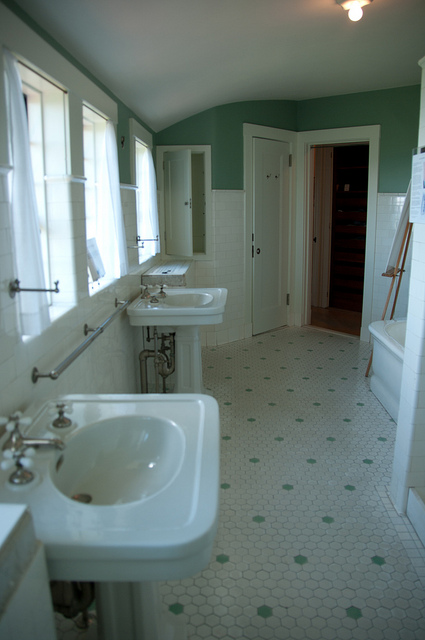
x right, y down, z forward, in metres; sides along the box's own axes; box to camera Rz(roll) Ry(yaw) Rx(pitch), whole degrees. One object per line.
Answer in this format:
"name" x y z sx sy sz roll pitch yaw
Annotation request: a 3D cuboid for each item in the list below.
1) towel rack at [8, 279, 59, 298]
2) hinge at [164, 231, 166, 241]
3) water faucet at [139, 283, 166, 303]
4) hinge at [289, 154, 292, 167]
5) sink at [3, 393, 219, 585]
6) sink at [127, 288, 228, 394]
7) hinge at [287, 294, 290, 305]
"towel rack" -0.582 -0.114 1.527 0.146 0.061 0.200 -1 12 -6
"hinge" -0.542 -0.963 5.194 0.019 0.098 0.008 5 12 20
"water faucet" -0.499 -0.197 3.499 0.243 0.181 0.132 2 19 9
"hinge" 0.950 -1.951 5.557 0.032 0.137 0.018 5 13 24
"sink" -0.236 0.381 1.051 0.343 0.192 0.559 -1 20 -3
"sink" -0.257 0.220 3.423 0.703 0.822 0.883 2 12 7
"hinge" 0.984 -0.272 5.931 0.031 0.126 0.017 0 11 -4
